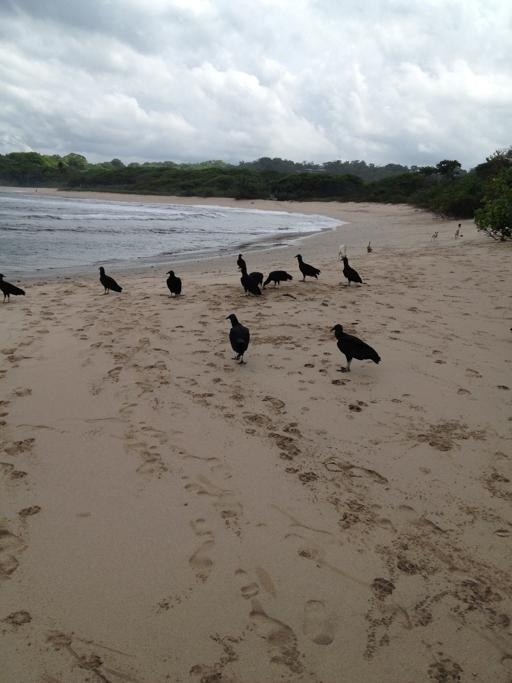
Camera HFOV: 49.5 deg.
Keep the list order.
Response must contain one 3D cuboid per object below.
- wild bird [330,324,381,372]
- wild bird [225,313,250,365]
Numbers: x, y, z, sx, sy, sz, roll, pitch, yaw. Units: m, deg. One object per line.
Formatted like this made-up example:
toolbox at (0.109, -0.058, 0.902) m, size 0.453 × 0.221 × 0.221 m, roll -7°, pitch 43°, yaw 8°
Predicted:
wild bird at (1.203, 0.096, 6.632) m, size 0.626 × 0.518 × 0.298 m, roll 6°, pitch 8°, yaw 9°
wild bird at (-0.200, -0.035, 6.965) m, size 0.266 × 0.600 × 0.900 m, roll -2°, pitch 8°, yaw -7°
